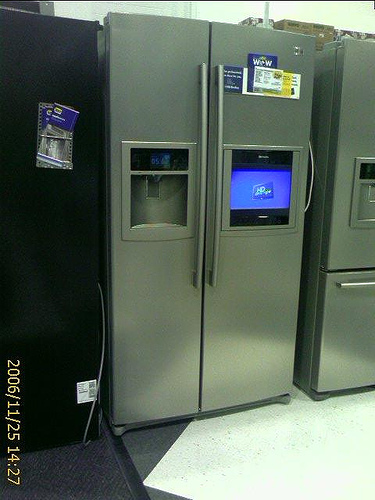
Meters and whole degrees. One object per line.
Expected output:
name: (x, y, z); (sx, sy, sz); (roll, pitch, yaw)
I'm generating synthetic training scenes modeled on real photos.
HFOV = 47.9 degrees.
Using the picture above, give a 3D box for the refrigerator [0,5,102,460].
refrigerator: (-0.545, 0.021, 1.649); (0.412, 1.690, 0.219); (-3, 9, -21)

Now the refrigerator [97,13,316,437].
refrigerator: (0.036, -0.122, 2.163); (0.983, 1.702, 0.829); (-4, 13, -21)
